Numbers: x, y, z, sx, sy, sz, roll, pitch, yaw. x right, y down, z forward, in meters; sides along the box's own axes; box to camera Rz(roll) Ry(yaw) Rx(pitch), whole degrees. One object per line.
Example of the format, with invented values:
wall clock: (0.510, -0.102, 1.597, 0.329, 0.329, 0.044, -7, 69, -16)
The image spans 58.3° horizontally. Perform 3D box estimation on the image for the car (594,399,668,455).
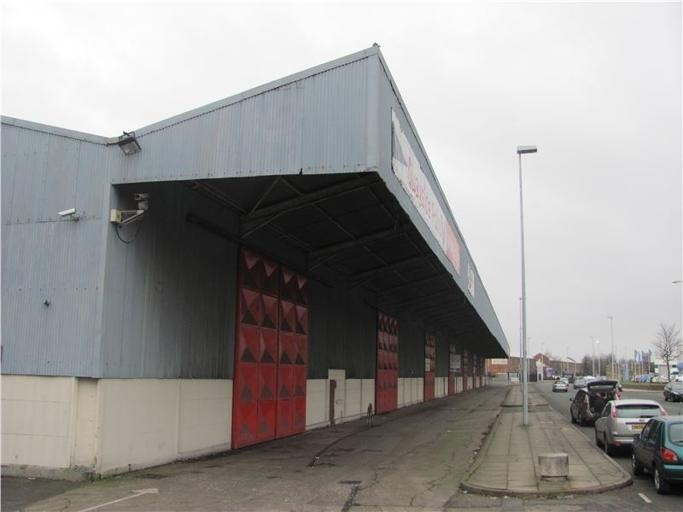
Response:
car: (9.492, 5.680, 20.244, 1.614, 1.591, 3.295, -2, -4, 12)

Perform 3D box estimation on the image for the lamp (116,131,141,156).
lamp: (-5.778, -3.066, 16.569, 0.674, 0.649, 0.294, 3, -5, 20)
